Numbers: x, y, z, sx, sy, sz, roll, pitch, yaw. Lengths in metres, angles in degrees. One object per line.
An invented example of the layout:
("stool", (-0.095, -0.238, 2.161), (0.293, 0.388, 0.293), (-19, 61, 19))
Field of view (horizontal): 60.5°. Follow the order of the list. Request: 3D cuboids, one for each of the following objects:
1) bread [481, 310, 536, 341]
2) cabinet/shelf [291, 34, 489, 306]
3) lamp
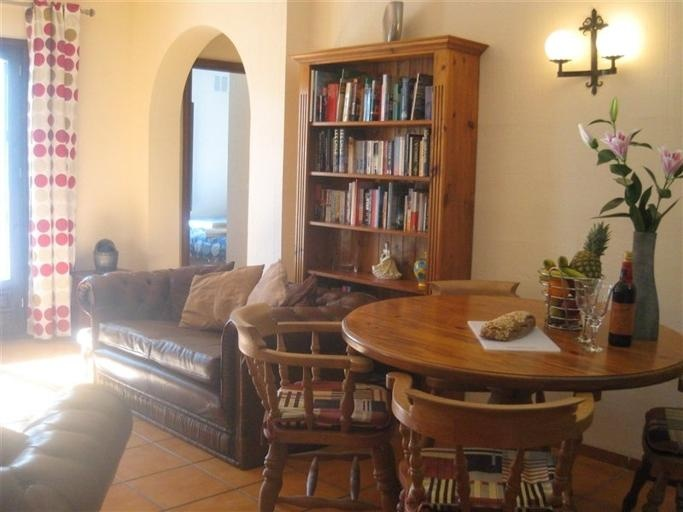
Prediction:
("bread", (0.674, 0.261, 2.337), (0.191, 0.063, 0.109), (-8, 7, -44))
("cabinet/shelf", (0.293, -0.639, 4.172), (1.392, 1.686, 0.528), (6, 12, 40))
("lamp", (1.458, -1.188, 3.478), (0.533, 0.477, 0.169), (-6, 11, -10))
